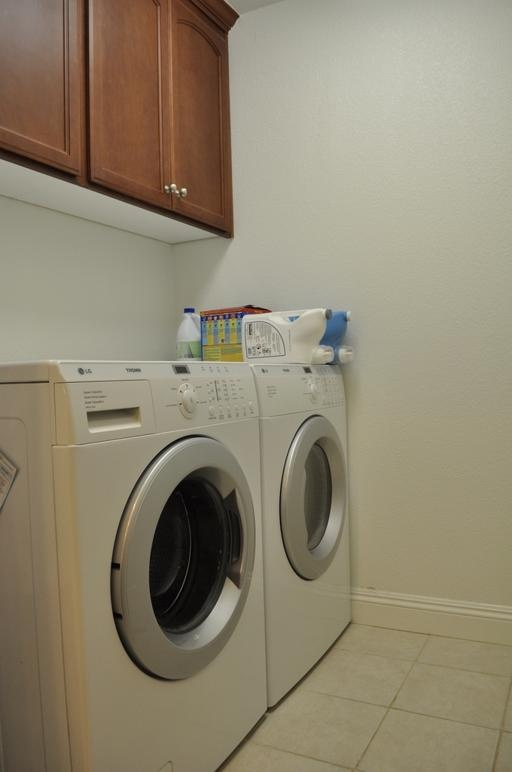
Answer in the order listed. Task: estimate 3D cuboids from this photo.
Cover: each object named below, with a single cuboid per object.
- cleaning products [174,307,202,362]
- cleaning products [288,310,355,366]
[{"bbox_3d":[-0.257,-0.188,2.063,0.096,0.200,0.157,0,-2,-32],"label":"cleaning products"},{"bbox_3d":[0.216,-0.157,1.874,0.179,0.175,0.318,-2,-2,19],"label":"cleaning products"}]
